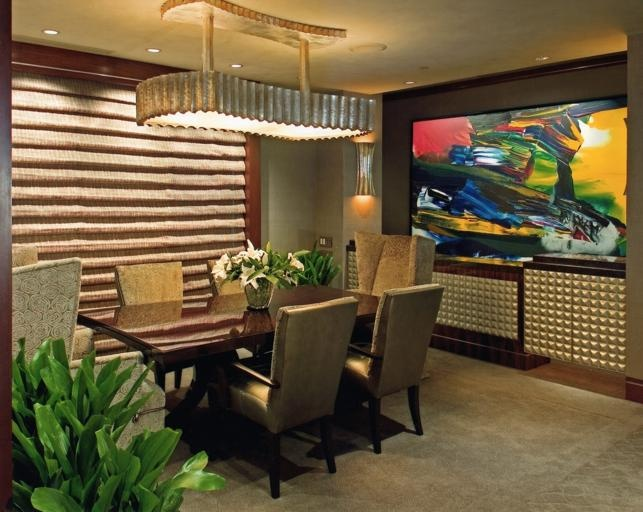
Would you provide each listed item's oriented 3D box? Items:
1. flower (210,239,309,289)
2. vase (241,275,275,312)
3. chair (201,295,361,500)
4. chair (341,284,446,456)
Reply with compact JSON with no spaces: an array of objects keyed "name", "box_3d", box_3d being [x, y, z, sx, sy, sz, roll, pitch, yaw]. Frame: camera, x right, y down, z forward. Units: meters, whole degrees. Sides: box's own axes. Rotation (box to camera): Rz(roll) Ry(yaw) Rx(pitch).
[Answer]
[{"name":"flower","box_3d":[-0.416,0.087,3.363,0.419,0.225,0.411,1,-2,-21]},{"name":"vase","box_3d":[-0.423,0.253,3.323,0.212,0.223,0.211,0,-1,7]},{"name":"chair","box_3d":[-0.247,0.750,2.911,0.768,0.974,0.697,3,3,34]},{"name":"chair","box_3d":[0.363,0.681,3.323,0.593,1.009,0.714,-5,9,-38]}]
